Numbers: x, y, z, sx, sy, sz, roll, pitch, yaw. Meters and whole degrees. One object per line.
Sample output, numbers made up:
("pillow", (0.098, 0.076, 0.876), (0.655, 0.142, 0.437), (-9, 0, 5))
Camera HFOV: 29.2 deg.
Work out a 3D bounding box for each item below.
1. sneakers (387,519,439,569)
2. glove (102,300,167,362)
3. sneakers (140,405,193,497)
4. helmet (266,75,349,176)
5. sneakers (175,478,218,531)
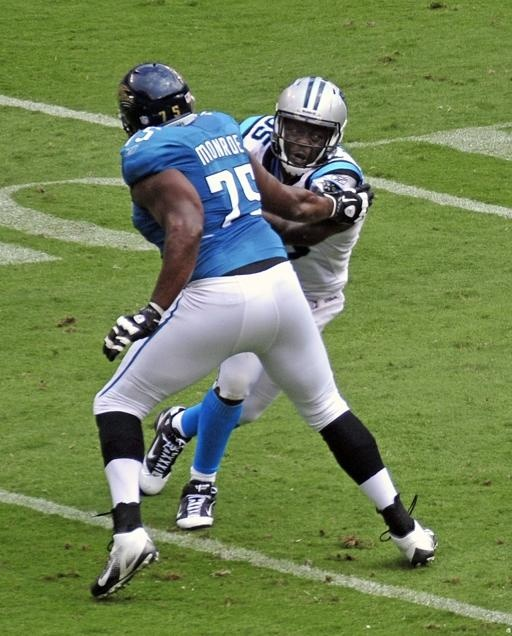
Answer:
("sneakers", (0.603, 0.849, 3.721), (0.132, 0.091, 0.270), (43, 11, 4))
("glove", (-0.431, 0.039, 3.282), (0.250, 0.096, 0.151), (-42, 74, -5))
("sneakers", (-0.414, 0.596, 4.398), (0.159, 0.233, 0.417), (36, 63, -32))
("helmet", (0.157, -0.831, 4.157), (0.396, 0.328, 0.422), (12, 22, -7))
("sneakers", (-0.241, 0.771, 4.027), (0.123, 0.087, 0.253), (3, 7, -7))
